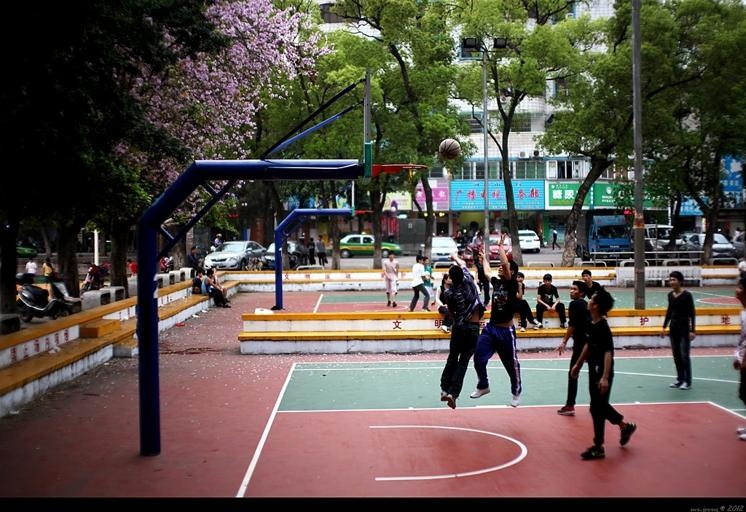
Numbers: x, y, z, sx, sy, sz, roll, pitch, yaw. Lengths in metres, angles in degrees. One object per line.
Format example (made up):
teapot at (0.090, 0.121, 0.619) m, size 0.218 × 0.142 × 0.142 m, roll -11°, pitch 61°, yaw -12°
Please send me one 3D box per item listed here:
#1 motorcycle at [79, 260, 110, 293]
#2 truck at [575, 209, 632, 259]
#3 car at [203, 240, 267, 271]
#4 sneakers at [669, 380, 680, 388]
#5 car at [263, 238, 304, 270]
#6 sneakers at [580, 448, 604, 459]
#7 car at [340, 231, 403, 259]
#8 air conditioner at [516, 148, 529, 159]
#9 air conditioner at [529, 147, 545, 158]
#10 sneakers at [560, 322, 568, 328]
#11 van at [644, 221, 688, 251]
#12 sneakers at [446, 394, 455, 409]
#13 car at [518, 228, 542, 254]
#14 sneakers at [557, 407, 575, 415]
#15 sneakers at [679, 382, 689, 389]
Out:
motorcycle at (-12.734, 0.980, 32.489) m, size 1.187 × 1.512 × 2.463 m, roll 2°, pitch 0°, yaw 9°
truck at (14.719, -1.431, 45.450) m, size 2.315 × 2.549 × 4.567 m, roll -1°, pitch -3°, yaw 6°
car at (-8.041, 0.020, 41.427) m, size 1.683 × 1.256 × 3.837 m, roll -2°, pitch -2°, yaw 14°
sneakers at (6.452, 2.732, 15.220) m, size 0.213 × 0.139 × 0.242 m, roll 4°, pitch 10°, yaw 25°
car at (-5.546, -0.001, 44.580) m, size 1.536 × 1.374 × 2.679 m, roll -1°, pitch -5°, yaw 7°
sneakers at (3.639, 3.294, 11.888) m, size 0.437 × 0.192 × 0.159 m, roll -2°, pitch -2°, yaw -1°
car at (-0.459, -0.540, 56.440) m, size 4.270 × 1.429 × 2.044 m, roll -1°, pitch 2°, yaw -1°
air conditioner at (13.221, -9.128, 63.451) m, size 0.866 × 0.826 × 0.864 m, roll -1°, pitch -8°, yaw 3°
air conditioner at (14.278, -8.866, 62.213) m, size 1.145 × 0.845 × 2.602 m, roll 2°, pitch 9°, yaw 12°
sneakers at (5.071, 1.866, 19.003) m, size 0.139 × 0.138 × 0.217 m, roll 3°, pitch -3°, yaw -42°
van at (19.684, -1.669, 48.907) m, size 2.506 × 2.378 × 4.295 m, roll -1°, pitch -4°, yaw 5°
sneakers at (1.402, 2.657, 12.924) m, size 0.139 × 0.249 × 0.174 m, roll 1°, pitch 9°, yaw 12°
car at (12.668, -1.027, 58.239) m, size 2.038 × 1.698 × 4.797 m, roll 0°, pitch 8°, yaw 5°
sneakers at (3.687, 2.984, 13.659) m, size 0.324 × 0.152 × 0.136 m, roll 0°, pitch -1°, yaw 22°
sneakers at (6.567, 2.761, 15.058) m, size 0.102 × 0.113 × 0.266 m, roll -5°, pitch -11°, yaw 29°
